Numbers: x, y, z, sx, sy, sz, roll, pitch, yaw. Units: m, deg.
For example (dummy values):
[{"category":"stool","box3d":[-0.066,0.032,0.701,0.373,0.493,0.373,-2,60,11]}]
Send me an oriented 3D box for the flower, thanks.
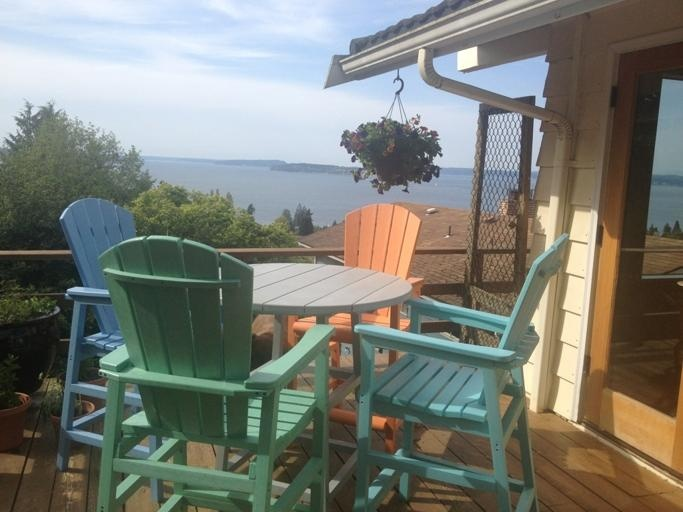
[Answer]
[{"category":"flower","box3d":[0.364,-0.710,3.752,0.575,0.419,0.577,-3,9,-24]}]
